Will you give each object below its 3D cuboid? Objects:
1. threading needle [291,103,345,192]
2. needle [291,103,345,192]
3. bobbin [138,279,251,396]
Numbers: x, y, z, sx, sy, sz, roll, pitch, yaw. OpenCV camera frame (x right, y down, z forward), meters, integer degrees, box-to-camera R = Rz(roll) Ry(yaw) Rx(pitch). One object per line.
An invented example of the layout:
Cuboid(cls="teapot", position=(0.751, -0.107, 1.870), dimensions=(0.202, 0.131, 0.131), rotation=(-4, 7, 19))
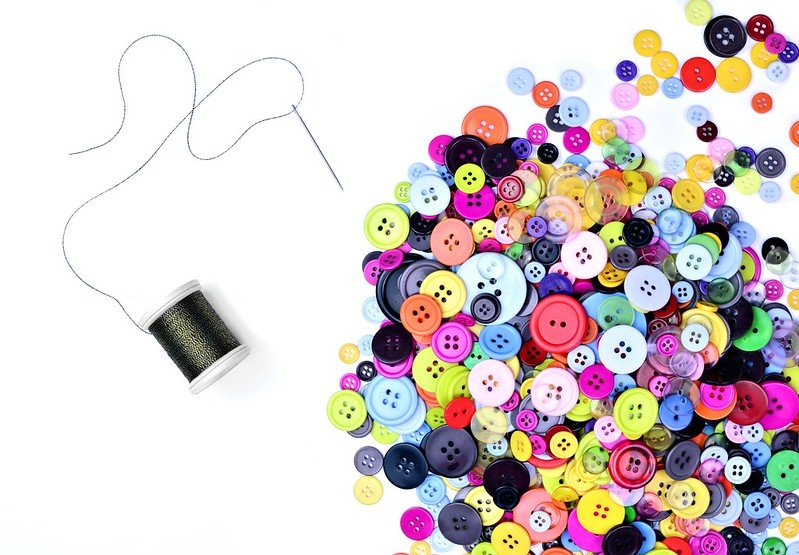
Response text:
Cuboid(cls="threading needle", position=(-0.354, -0.565, 3.786), dimensions=(0.254, 0.136, 0.355), rotation=(-28, -46, -24))
Cuboid(cls="needle", position=(-0.353, -0.554, 3.781), dimensions=(0.029, 0.027, 0.417), rotation=(-27, -89, -18))
Cuboid(cls="bobbin", position=(-0.859, 0.249, 3.830), dimensions=(0.407, 0.494, 0.407), rotation=(-38, -2, -7))
